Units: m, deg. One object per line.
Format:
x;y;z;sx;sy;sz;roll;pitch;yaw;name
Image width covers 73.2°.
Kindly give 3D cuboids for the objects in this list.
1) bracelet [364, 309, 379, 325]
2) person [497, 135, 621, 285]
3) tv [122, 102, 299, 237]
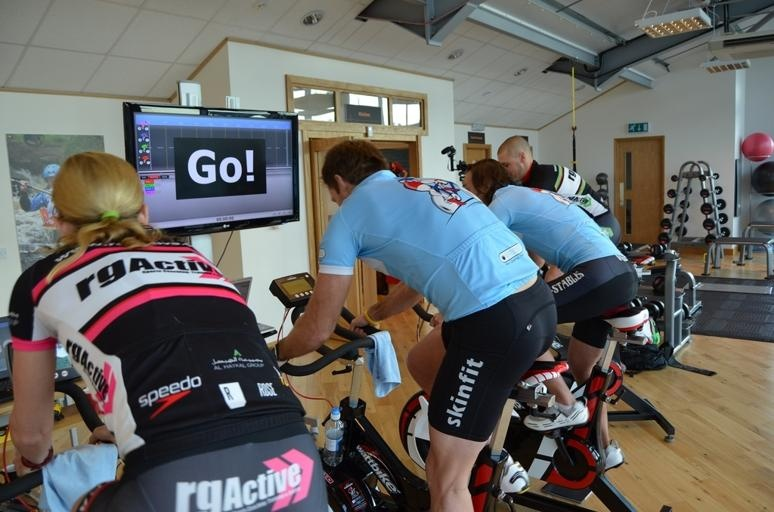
-0.081;0.294;2.505;0.052;0.037;0.068;35;-12;-29;bracelet
1.393;-0.224;4.522;1.140;1.679;0.674;-9;-7;17;person
-1.078;-0.536;3.161;0.092;0.922;1.358;5;11;44;tv
